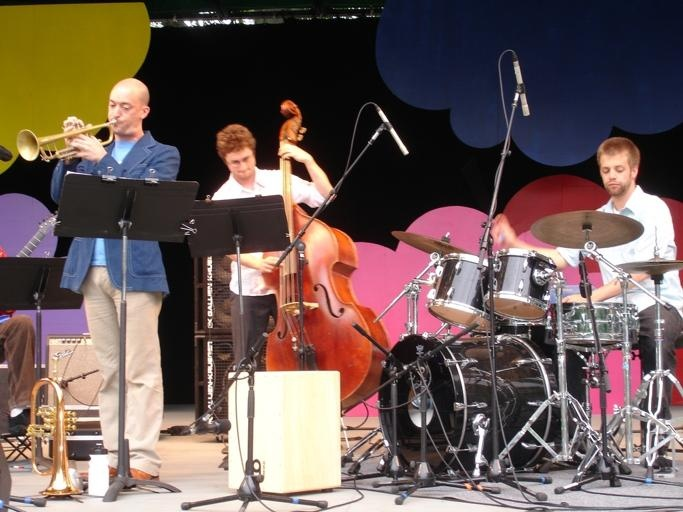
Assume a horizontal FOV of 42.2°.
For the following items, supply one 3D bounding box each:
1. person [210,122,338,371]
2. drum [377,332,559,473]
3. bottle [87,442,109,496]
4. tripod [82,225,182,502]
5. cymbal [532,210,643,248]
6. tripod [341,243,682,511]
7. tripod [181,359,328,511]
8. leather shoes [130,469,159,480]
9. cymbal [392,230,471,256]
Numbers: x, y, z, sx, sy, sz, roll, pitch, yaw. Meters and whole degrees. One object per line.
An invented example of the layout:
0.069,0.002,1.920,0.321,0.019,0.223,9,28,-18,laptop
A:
-0.630,-0.132,6.639,1.298,1.601,0.570,-6,-4,35,person
0.870,1.047,6.279,1.162,0.896,1.033,2,-8,-19,drum
-1.559,1.380,5.677,0.135,0.318,0.237,3,-12,-14,bottle
-1.370,0.723,5.793,0.610,1.670,0.563,9,-15,-37,tripod
1.651,-0.211,6.001,0.729,0.315,0.554,-3,-11,16,cymbal
1.177,1.014,6.015,1.465,1.214,1.129,0,-3,-35,tripod
-0.649,1.172,5.766,1.070,1.048,0.959,-8,-17,28,tripod
-1.297,1.439,5.812,0.198,0.068,0.058,1,-4,-12,leather shoes
0.635,-0.087,6.518,0.300,0.053,0.278,11,-13,12,cymbal
